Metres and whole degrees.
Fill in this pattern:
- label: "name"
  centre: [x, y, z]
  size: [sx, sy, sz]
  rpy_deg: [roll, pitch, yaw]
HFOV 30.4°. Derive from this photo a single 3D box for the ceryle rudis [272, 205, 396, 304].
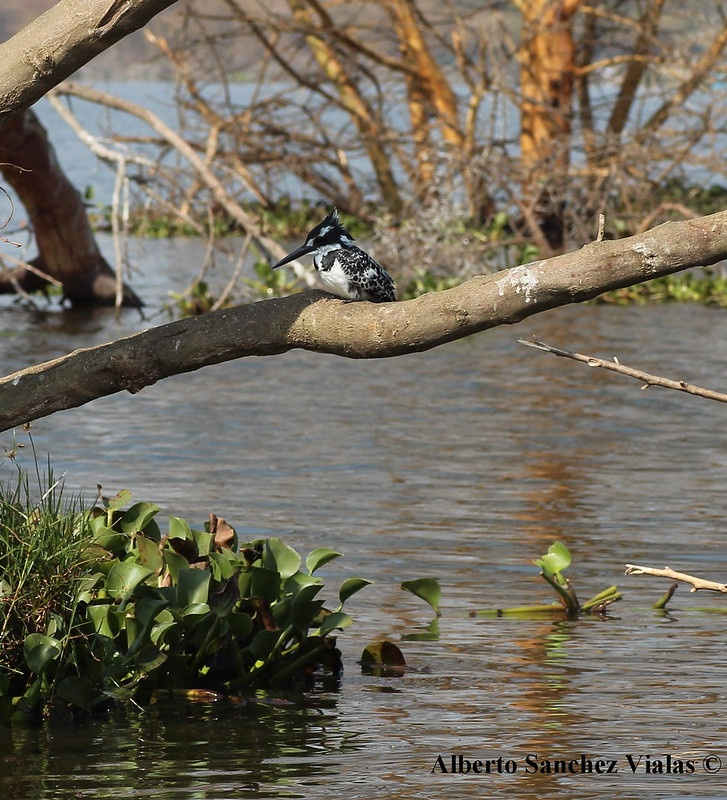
- label: "ceryle rudis"
  centre: [-0.148, -0.815, 7.767]
  size: [0.887, 0.508, 0.334]
  rpy_deg: [-3, 12, -37]
